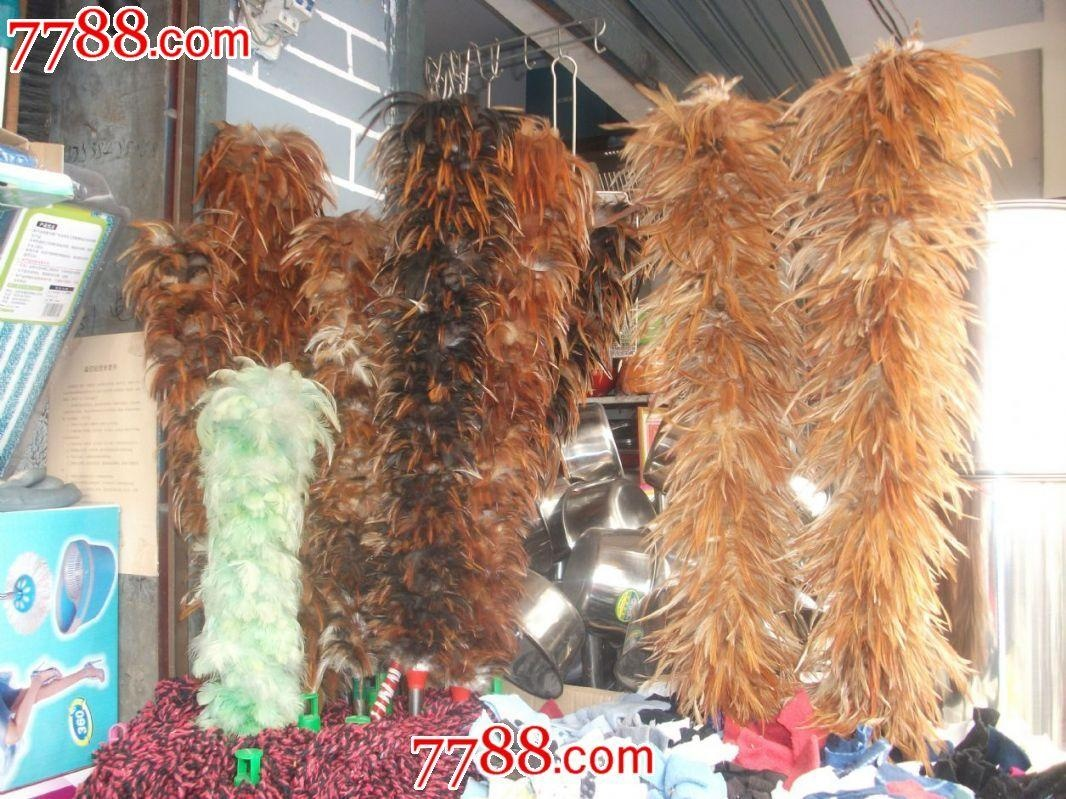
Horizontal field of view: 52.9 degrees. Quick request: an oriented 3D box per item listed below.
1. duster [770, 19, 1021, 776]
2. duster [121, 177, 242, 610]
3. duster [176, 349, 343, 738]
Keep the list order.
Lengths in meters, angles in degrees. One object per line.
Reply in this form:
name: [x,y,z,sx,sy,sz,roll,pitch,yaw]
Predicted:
duster: [0.543,-0.012,1.696,0.361,1.111,0.205,5,-4,18]
duster: [-0.577,-0.013,1.966,0.198,0.758,0.238,-1,4,2]
duster: [-0.456,0.237,1.772,0.222,0.492,0.125,7,-4,-10]
